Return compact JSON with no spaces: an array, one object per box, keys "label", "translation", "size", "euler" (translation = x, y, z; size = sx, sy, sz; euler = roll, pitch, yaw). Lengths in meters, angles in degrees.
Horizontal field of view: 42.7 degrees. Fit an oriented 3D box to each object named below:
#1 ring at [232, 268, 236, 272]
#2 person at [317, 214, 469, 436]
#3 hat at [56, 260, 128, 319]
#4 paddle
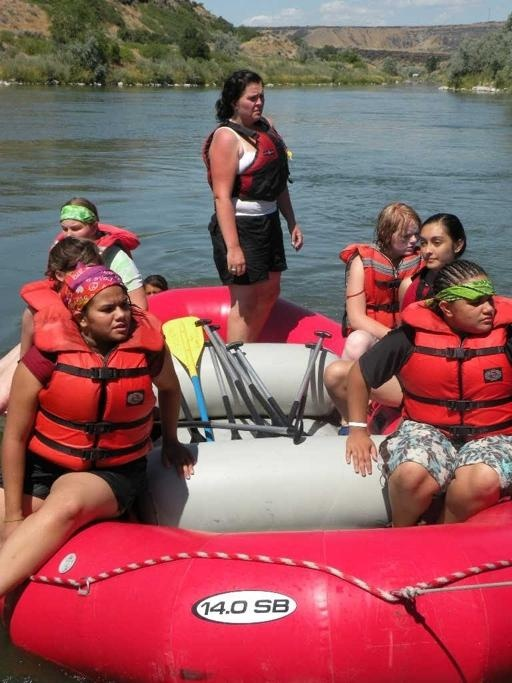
[{"label":"ring","translation":[-0.117,-0.390,3.545],"size":[0.024,0.019,0.038],"euler":[2,-16,2]},{"label":"person","translation":[0.722,-0.176,3.366],"size":[0.900,1.030,0.696],"euler":[-6,30,-20]},{"label":"hat","translation":[-0.519,-0.171,2.104],"size":[0.206,0.164,0.162],"euler":[-17,11,37]},{"label":"paddle","translation":[-0.305,0.169,3.230],"size":[0.218,0.042,0.929],"euler":[4,38,-18]}]
